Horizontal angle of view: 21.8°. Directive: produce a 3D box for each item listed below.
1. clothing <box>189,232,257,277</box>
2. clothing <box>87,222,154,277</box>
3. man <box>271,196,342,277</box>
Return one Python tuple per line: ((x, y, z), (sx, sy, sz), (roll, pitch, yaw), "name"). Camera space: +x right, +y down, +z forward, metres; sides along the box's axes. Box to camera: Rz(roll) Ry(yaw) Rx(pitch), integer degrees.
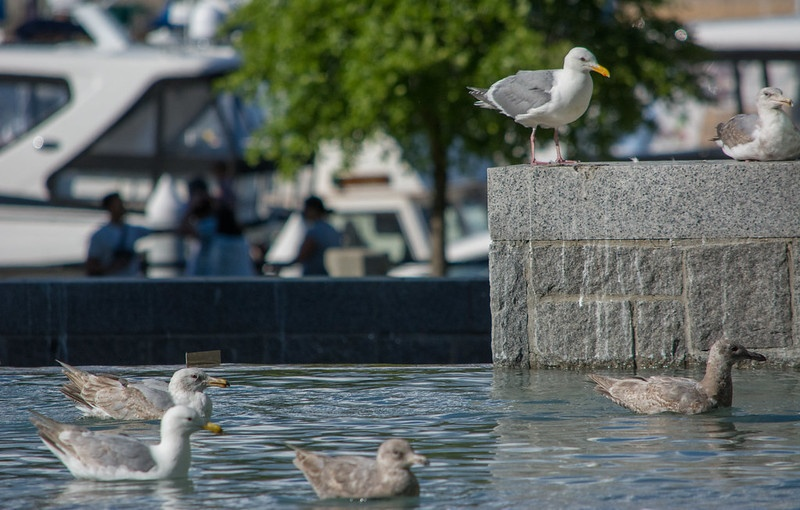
((-2.863, 0.047, 34.159), (0.846, 0.620, 0.833), (7, -9, -43), "clothing")
((-4.504, -0.111, 33.735), (0.944, 0.893, 0.505), (-9, 0, -21), "clothing")
((-1.504, -0.349, 36.108), (1.127, 1.405, 2.397), (-9, 0, -13), "man")
